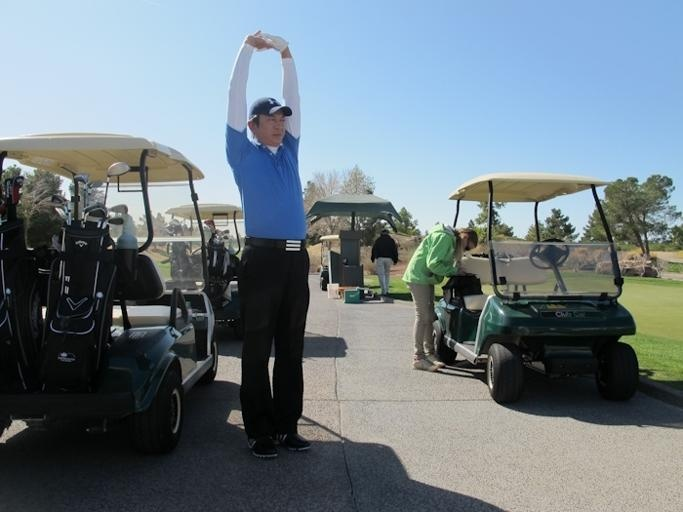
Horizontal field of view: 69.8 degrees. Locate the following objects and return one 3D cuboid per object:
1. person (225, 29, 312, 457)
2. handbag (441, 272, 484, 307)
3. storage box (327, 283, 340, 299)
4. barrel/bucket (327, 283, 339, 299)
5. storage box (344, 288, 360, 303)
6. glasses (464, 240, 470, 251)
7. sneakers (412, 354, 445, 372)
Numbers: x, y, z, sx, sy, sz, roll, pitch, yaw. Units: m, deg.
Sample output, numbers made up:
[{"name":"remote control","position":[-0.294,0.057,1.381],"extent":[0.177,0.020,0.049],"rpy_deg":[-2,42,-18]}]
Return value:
[{"name":"person","position":[-0.535,-0.085,3.701],"extent":[0.643,3.173,0.468],"rpy_deg":[-1,3,-22]},{"name":"handbag","position":[1.514,0.421,6.032],"extent":[0.382,0.437,0.344],"rpy_deg":[2,-2,4]},{"name":"storage box","position":[-0.227,1.084,14.487],"extent":[0.427,0.499,0.335],"rpy_deg":[0,-11,-2]},{"name":"barrel/bucket","position":[-0.227,1.050,14.390],"extent":[0.418,0.485,0.327],"rpy_deg":[0,-12,-2]},{"name":"storage box","position":[0.275,1.057,12.757],"extent":[0.336,0.350,0.366],"rpy_deg":[0,-5,-5]},{"name":"glasses","position":[1.567,-0.107,6.057],"extent":[0.063,0.086,0.090],"rpy_deg":[0,-10,-3]},{"name":"sneakers","position":[1.095,1.325,6.066],"extent":[0.302,0.130,0.191],"rpy_deg":[1,2,-3]}]
